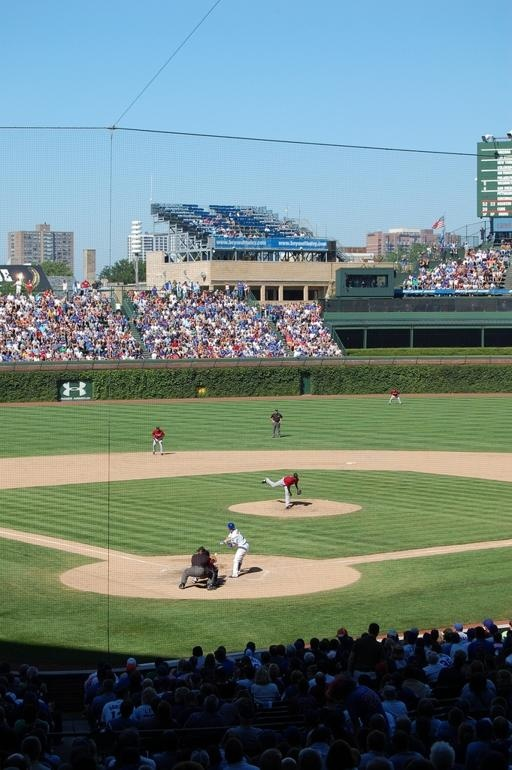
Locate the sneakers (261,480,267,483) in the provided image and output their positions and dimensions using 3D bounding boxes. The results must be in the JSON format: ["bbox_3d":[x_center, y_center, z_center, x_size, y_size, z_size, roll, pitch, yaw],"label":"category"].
[{"bbox_3d":[0.215,1.682,28.551,0.070,0.054,0.127,-1,-1,-9],"label":"sneakers"}]

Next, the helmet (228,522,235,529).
[{"bbox_3d":[-0.304,2.052,23.892,0.091,0.115,0.121,0,9,-2],"label":"helmet"}]

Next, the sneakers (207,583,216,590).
[{"bbox_3d":[-0.583,2.859,23.452,0.055,0.065,0.144,3,5,14],"label":"sneakers"}]

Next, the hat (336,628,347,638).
[{"bbox_3d":[1.002,2.741,18.242,0.116,0.082,0.158,-2,-4,-1],"label":"hat"}]
